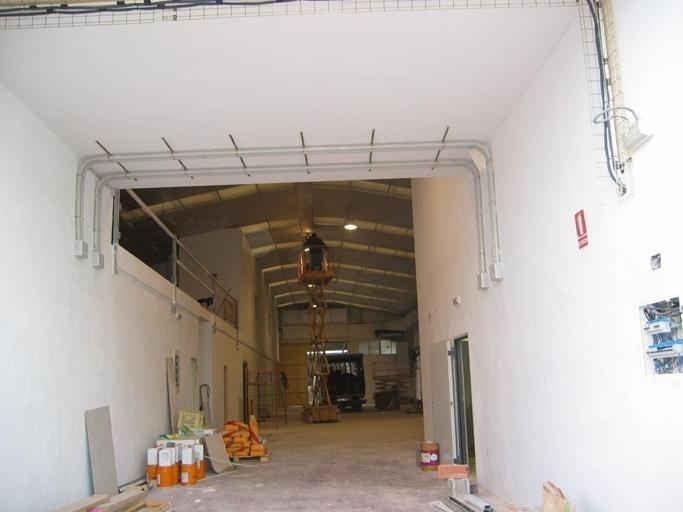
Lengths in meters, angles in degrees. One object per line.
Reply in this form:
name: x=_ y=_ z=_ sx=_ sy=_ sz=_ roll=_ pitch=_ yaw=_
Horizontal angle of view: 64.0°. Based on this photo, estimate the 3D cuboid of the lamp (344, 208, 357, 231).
lamp: x=0.233 y=-1.281 z=19.232 sx=0.430 sy=0.889 sz=0.533 roll=-4 pitch=-11 yaw=26

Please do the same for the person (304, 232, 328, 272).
person: x=-1.024 y=-0.163 z=21.036 sx=0.889 sy=1.516 sz=0.358 roll=-1 pitch=-14 yaw=-9

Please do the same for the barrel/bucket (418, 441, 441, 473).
barrel/bucket: x=1.445 y=3.420 z=9.400 sx=0.386 sy=0.489 sz=0.409 roll=1 pitch=-5 yaw=0

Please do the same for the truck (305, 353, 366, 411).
truck: x=-0.054 y=7.440 z=32.424 sx=3.269 sy=4.151 sz=6.530 roll=-2 pitch=-15 yaw=-5
